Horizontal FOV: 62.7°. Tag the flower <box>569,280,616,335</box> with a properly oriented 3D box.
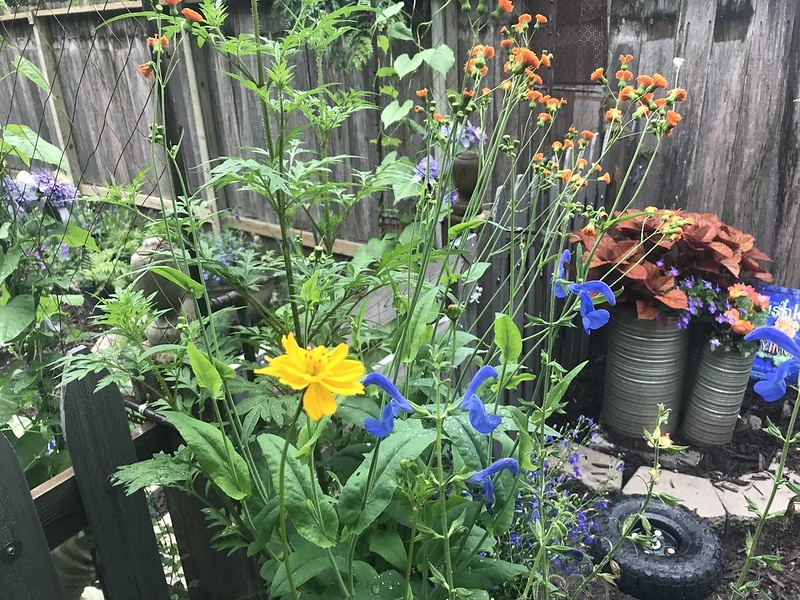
[{"bbox_3d":[0.552,0.018,1.924,0.100,0.043,0.093,40,-31,-30],"label":"flower"}]

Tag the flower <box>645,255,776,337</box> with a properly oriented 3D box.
[{"bbox_3d":[1.987,0.038,4.356,0.736,0.777,0.425,3,-14,-17],"label":"flower"}]

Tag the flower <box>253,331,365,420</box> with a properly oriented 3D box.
[{"bbox_3d":[-0.239,0.235,1.708,0.221,0.153,0.233,31,41,9],"label":"flower"}]

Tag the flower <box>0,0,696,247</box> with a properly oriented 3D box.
[{"bbox_3d":[-0.159,-1.089,3.968,2.018,0.964,2.726,-16,26,-41],"label":"flower"}]

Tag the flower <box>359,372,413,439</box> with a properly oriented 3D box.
[{"bbox_3d":[-0.030,0.295,1.863,0.167,0.185,0.144,7,-4,-19],"label":"flower"}]
